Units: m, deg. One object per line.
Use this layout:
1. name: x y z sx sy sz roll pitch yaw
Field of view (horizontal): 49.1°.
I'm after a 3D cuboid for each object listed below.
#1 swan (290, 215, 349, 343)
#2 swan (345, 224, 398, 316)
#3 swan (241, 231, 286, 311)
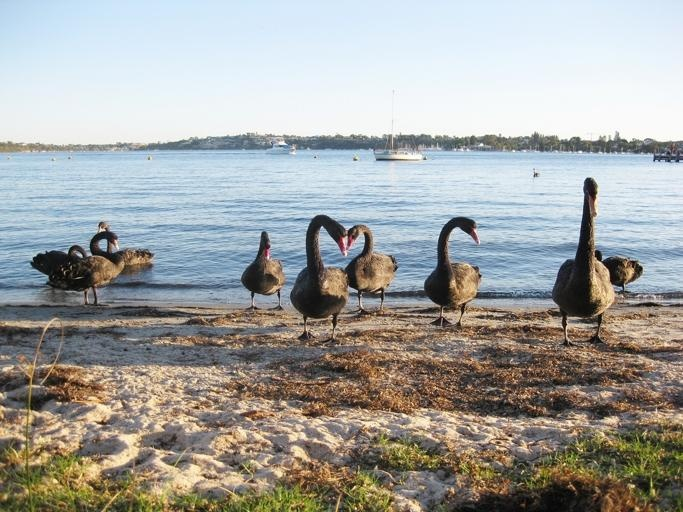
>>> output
1. swan: -0.399 0.429 14.089 1.008 2.537 1.967 1 11 1
2. swan: 0.663 0.231 17.242 1.197 2.112 1.139 2 10 9
3. swan: -1.724 0.368 17.481 1.037 1.976 1.164 -2 11 -17
